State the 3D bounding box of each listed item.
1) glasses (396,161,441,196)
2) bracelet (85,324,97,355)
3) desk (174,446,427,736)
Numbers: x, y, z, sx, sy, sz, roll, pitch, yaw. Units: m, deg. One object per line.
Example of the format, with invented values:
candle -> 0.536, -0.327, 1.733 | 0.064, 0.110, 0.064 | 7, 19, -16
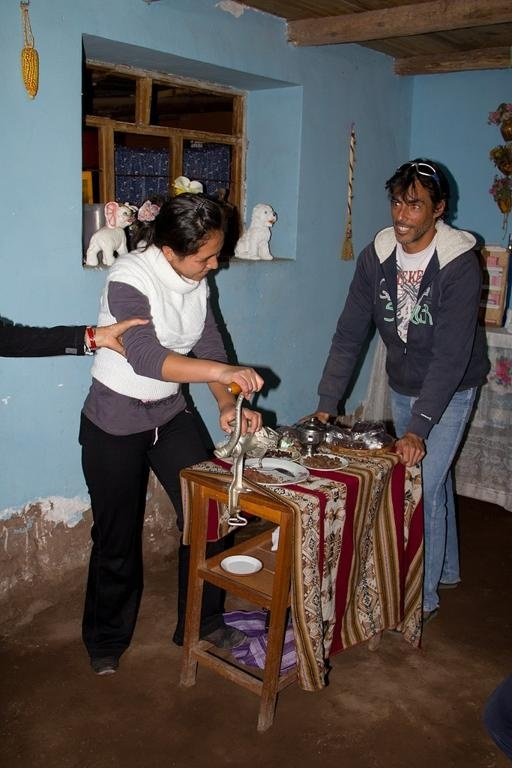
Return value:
glasses -> 0.576, -0.744, 2.156 | 0.129, 0.037, 0.126 | 18, -24, 33
bracelet -> -0.484, -0.125, 1.785 | 0.029, 0.070, 0.044 | 1, 10, 5
desk -> 0.156, 0.638, 2.012 | 0.493, 0.597, 0.733 | 4, -4, 39
